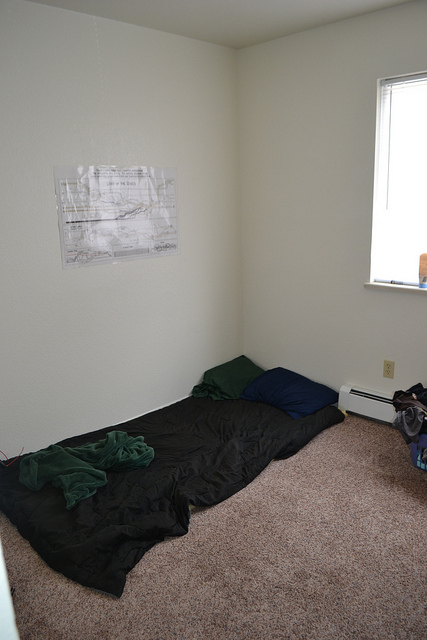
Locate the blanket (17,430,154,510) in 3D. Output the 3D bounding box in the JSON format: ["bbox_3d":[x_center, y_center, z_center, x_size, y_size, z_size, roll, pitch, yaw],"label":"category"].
[{"bbox_3d":[-0.692,0.789,2.514,0.358,0.122,0.474,11,14,40],"label":"blanket"}]

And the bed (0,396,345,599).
[{"bbox_3d":[-0.232,0.865,2.488,0.831,0.199,1.309,9,13,43],"label":"bed"}]

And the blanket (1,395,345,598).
[{"bbox_3d":[-0.197,0.693,2.483,0.827,0.197,1.310,9,12,43],"label":"blanket"}]
